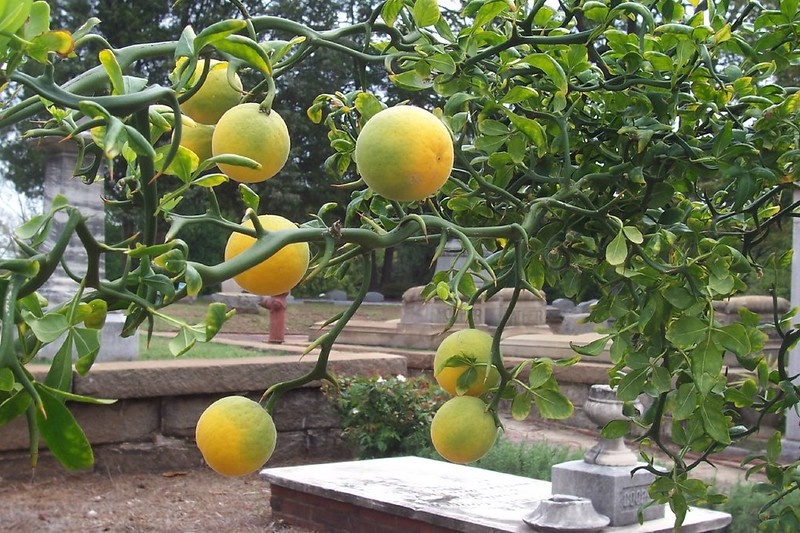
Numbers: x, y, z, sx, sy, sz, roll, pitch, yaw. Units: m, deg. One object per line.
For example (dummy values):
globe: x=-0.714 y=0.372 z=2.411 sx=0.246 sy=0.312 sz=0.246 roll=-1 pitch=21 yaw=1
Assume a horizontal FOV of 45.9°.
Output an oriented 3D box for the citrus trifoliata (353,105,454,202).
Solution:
citrus trifoliata: x=-0.001 y=-0.280 z=2.309 sx=0.208 sy=0.256 sz=0.224 roll=3 pitch=11 yaw=38

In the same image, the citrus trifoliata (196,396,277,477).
citrus trifoliata: x=-0.413 y=0.430 z=2.362 sx=0.190 sy=0.220 sz=0.189 roll=-15 pitch=-13 yaw=39

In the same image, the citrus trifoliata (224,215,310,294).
citrus trifoliata: x=-0.307 y=-0.035 z=2.350 sx=0.196 sy=0.229 sz=0.195 roll=-4 pitch=1 yaw=-7
